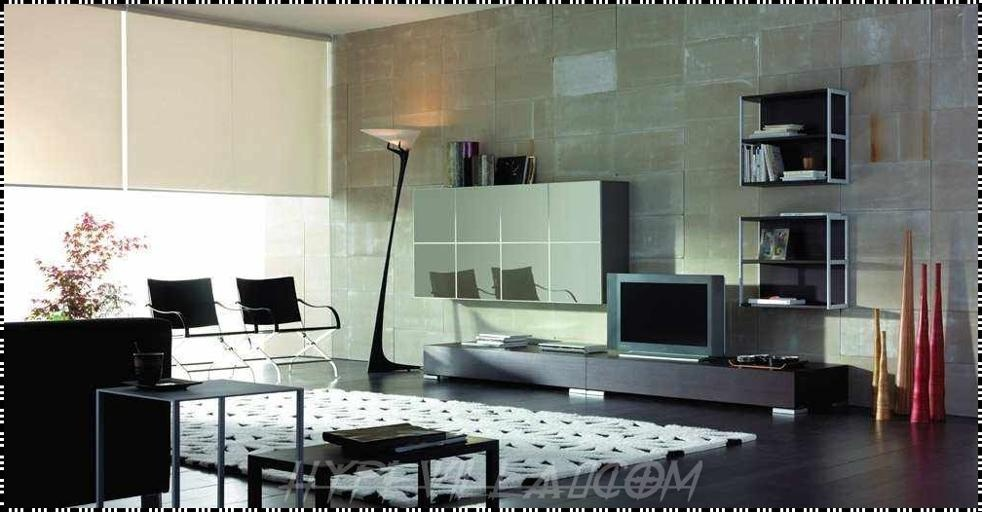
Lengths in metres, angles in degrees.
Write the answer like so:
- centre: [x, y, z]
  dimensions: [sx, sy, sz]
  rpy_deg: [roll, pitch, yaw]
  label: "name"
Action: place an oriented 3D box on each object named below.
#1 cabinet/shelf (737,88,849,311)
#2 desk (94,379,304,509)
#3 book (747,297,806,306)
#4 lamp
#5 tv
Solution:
- centre: [3.419, -0.628, 8.045]
  dimensions: [1.235, 2.481, 0.425]
  rpy_deg: [-2, 0, 22]
  label: "cabinet/shelf"
- centre: [-1.917, 1.308, 5.072]
  dimensions: [1.235, 1.059, 1.139]
  rpy_deg: [-2, -3, 38]
  label: "desk"
- centre: [3.221, 0.510, 8.053]
  dimensions: [0.562, 0.082, 0.200]
  rpy_deg: [-2, -1, 30]
  label: "book"
- centre: [-1.447, -0.108, 10.375]
  dimensions: [0.878, 3.520, 0.881]
  rpy_deg: [-3, 0, -8]
  label: "lamp"
- centre: [2.062, 0.718, 8.247]
  dimensions: [1.260, 0.717, 0.363]
  rpy_deg: [0, -1, 29]
  label: "tv"
